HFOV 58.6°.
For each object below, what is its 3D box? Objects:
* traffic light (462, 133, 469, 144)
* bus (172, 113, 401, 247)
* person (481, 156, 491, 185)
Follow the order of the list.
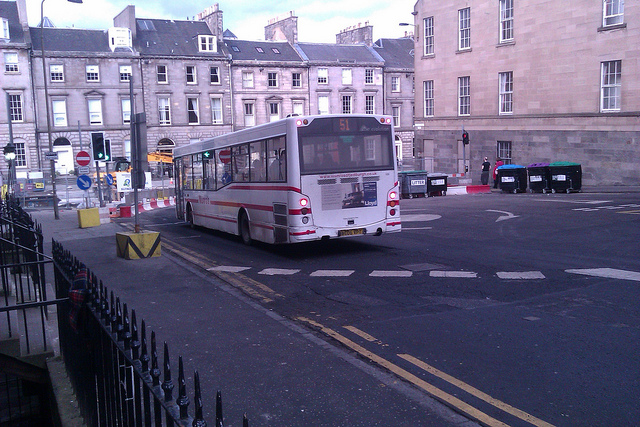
[{"bbox_3d":[10.077,-5.255,39.668,0.233,0.706,0.716,2,10,20],"label":"traffic light"},{"bbox_3d":[-2.797,-1.056,20.174,3.183,4.726,12.352,-9,13,-39],"label":"bus"},{"bbox_3d":[10.869,-2.724,37.689,0.426,1.514,1.107,2,10,16],"label":"person"}]
